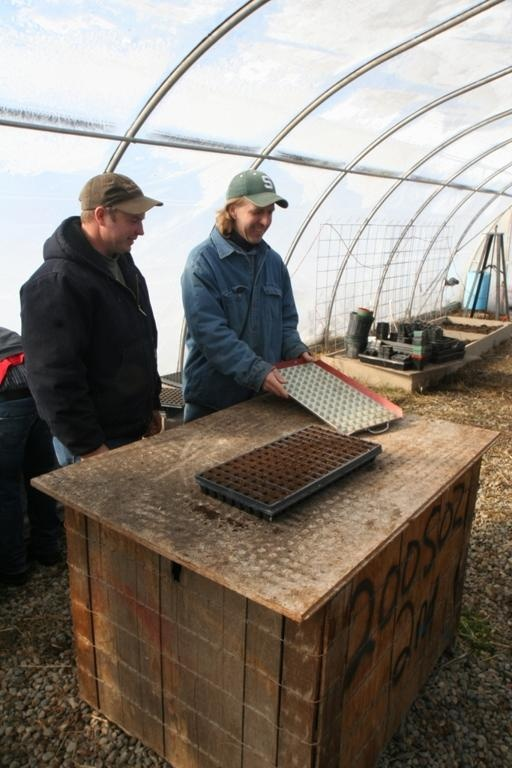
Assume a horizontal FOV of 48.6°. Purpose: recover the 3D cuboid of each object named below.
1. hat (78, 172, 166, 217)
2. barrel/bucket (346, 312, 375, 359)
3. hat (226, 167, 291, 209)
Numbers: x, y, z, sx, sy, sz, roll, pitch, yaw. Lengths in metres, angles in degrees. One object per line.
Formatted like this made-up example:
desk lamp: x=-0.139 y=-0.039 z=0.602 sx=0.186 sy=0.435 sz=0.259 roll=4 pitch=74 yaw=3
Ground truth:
hat: x=-0.535 y=-0.749 z=2.214 sx=0.259 sy=0.127 sz=0.172 roll=-6 pitch=37 yaw=-5
barrel/bucket: x=1.249 y=-0.617 z=6.935 sx=0.309 sy=0.605 sz=0.349 roll=4 pitch=15 yaw=10
hat: x=0.002 y=-0.899 z=2.589 sx=0.269 sy=0.148 sz=0.176 roll=17 pitch=34 yaw=24
